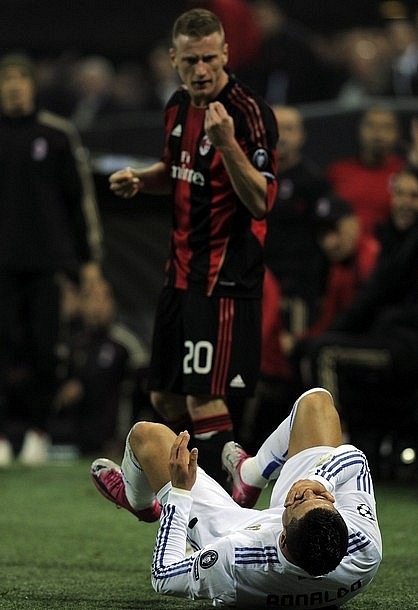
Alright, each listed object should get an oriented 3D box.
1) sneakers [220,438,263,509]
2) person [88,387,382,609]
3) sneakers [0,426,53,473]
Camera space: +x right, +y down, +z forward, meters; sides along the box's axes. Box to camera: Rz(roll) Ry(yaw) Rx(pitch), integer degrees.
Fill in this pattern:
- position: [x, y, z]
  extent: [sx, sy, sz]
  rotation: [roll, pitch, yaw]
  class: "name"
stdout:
- position: [0.081, 0.501, 2.240]
  extent: [0.091, 0.112, 0.238]
  rotation: [1, 53, -11]
  class: "sneakers"
- position: [0.003, 0.445, 1.726]
  extent: [0.486, 0.456, 0.772]
  rotation: [-10, 27, -16]
  class: "person"
- position: [-1.279, 1.013, 5.051]
  extent: [0.278, 0.228, 0.273]
  rotation: [0, -2, 32]
  class: "sneakers"
